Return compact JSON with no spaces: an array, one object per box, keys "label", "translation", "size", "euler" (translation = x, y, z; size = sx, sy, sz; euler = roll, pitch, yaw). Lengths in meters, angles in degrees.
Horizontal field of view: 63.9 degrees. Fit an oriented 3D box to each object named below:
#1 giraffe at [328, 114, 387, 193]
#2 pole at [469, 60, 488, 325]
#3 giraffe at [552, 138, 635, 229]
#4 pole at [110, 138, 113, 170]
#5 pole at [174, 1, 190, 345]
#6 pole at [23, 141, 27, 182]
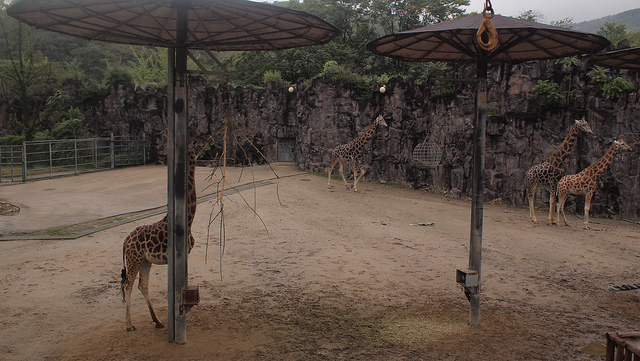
[{"label":"giraffe","translation":[1.588,-1.282,23.626],"size":[2.243,3.278,3.237],"euler":[2,5,14]},{"label":"pole","translation":[3.924,0.293,12.761],"size":[0.271,6.523,0.733],"euler":[2,5,17]},{"label":"giraffe","translation":[9.913,0.031,18.564],"size":[2.572,3.063,2.837],"euler":[3,6,26]},{"label":"pole","translation":[-11.563,-1.403,28.461],"size":[0.070,1.545,0.491],"euler":[-1,5,-22]},{"label":"pole","translation":[-3.283,0.384,12.062],"size":[0.344,6.952,0.520],"euler":[-1,5,-14]},{"label":"pole","translation":[-13.792,-0.884,23.981],"size":[0.118,1.844,0.564],"euler":[-2,5,-29]}]
